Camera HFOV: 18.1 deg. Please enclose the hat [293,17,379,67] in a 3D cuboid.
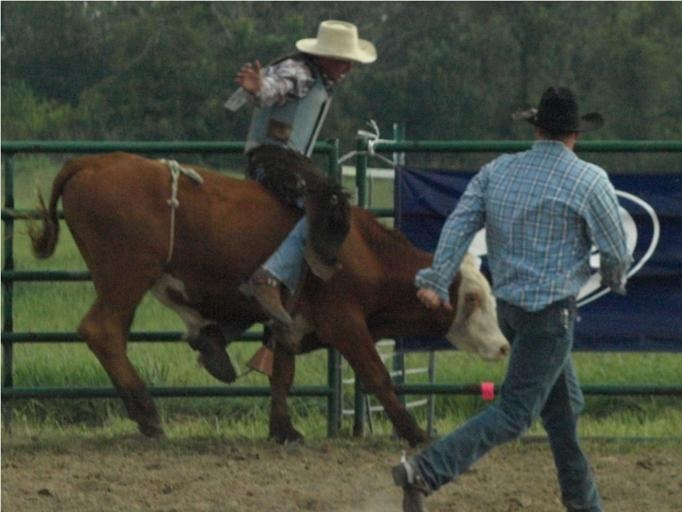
[{"bbox_3d":[-0.002,-3.108,31.414,0.813,0.338,0.729,18,19,-2],"label":"hat"}]
